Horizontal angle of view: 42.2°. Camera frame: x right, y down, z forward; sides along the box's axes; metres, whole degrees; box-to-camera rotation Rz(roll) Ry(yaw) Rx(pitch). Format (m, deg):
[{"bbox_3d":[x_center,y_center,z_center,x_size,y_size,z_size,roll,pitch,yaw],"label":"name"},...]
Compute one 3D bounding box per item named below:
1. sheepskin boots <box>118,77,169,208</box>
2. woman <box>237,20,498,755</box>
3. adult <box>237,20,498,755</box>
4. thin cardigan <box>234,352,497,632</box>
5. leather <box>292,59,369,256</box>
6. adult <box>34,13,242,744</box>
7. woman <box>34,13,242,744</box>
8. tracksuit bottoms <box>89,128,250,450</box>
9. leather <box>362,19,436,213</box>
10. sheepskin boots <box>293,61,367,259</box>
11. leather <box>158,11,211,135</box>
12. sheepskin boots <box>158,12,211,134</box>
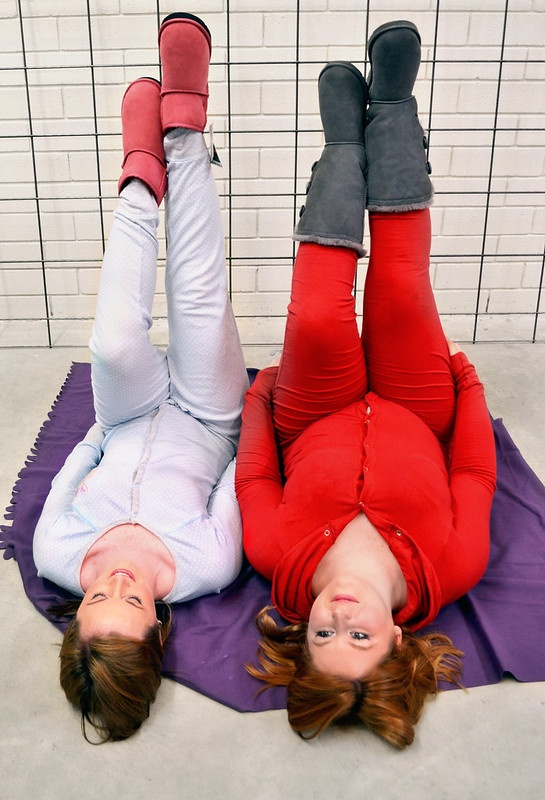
[{"bbox_3d":[-0.280,-0.548,1.520,0.097,0.270,0.163,1,10,1],"label":"sheepskin boots"},{"bbox_3d":[0.175,-0.075,1.461,0.503,1.344,0.460,-1,-16,12],"label":"woman"},{"bbox_3d":[0.175,-0.074,1.463,0.503,1.344,0.460,-1,-16,12],"label":"adult"},{"bbox_3d":[0.191,0.187,1.399,0.406,0.177,0.496,2,50,7],"label":"thin cardigan"},{"bbox_3d":[0.146,-0.476,1.493,0.144,0.401,0.285,2,0,11],"label":"leather"},{"bbox_3d":[-0.242,-0.096,1.454,0.436,1.383,0.457,0,-17,-1],"label":"adult"},{"bbox_3d":[-0.209,-0.092,1.462,0.436,1.383,0.457,0,-17,-1],"label":"woman"},{"bbox_3d":[-0.198,-0.249,1.543,0.337,0.645,0.245,1,21,1],"label":"tracksuit bottoms"},{"bbox_3d":[0.330,-0.644,1.626,0.190,0.354,0.525,1,18,21],"label":"leather"},{"bbox_3d":[0.135,-0.482,1.441,0.144,0.401,0.285,2,2,11],"label":"sheepskin boots"},{"bbox_3d":[-0.190,-0.697,1.501,0.099,0.273,0.112,-5,18,-8],"label":"leather"},{"bbox_3d":[-0.190,-0.695,1.501,0.098,0.273,0.112,-5,17,-8],"label":"sheepskin boots"}]
